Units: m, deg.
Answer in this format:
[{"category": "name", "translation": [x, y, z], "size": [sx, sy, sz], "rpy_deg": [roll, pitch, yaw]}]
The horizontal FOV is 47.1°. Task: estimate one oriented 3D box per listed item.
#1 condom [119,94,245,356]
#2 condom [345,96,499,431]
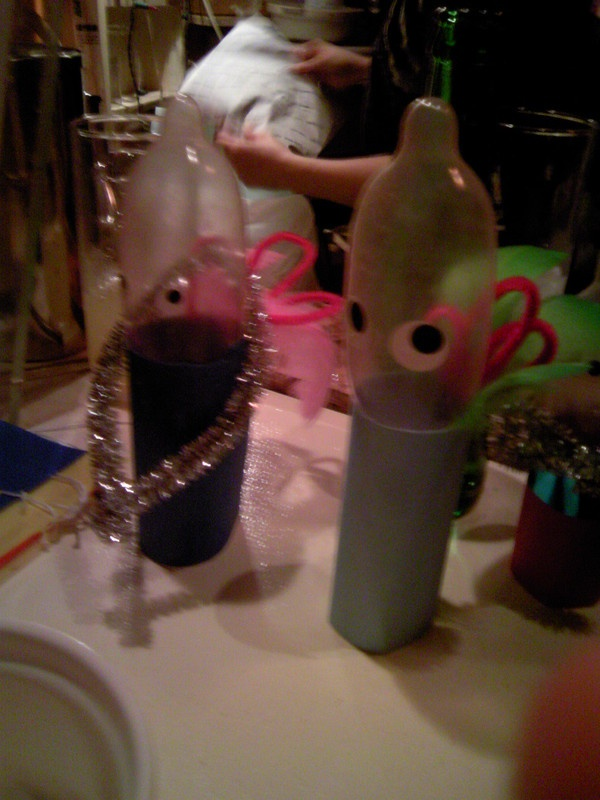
[{"category": "condom", "translation": [-0.062, -0.096, 0.389], "size": [0.066, 0.141, 0.064], "rpy_deg": [-3, 3, 6]}, {"category": "condom", "translation": [0.057, -0.060, 0.319], "size": [0.071, 0.147, 0.069], "rpy_deg": [22, 40, 32]}]
